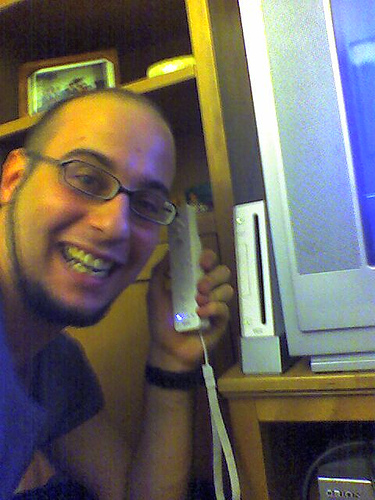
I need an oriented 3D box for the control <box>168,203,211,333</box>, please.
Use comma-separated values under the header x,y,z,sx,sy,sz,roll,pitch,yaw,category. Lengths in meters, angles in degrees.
x,y,z,sx,sy,sz,roll,pitch,yaw,category
-0.005,0.025,1.033,0.066,0.279,0.071,-9,-7,36,control
